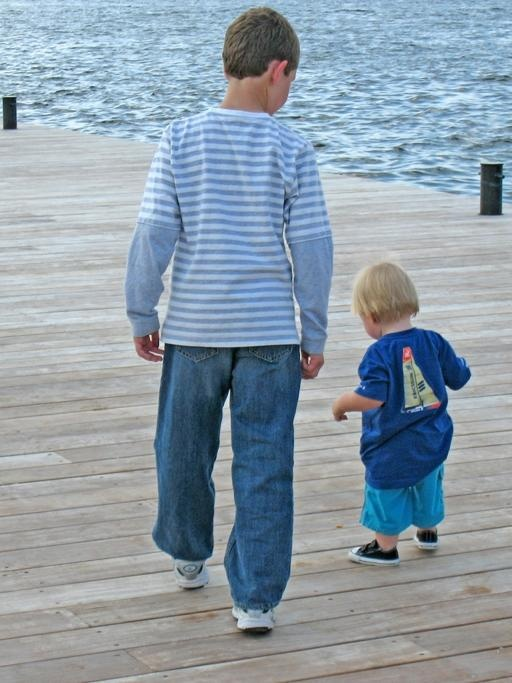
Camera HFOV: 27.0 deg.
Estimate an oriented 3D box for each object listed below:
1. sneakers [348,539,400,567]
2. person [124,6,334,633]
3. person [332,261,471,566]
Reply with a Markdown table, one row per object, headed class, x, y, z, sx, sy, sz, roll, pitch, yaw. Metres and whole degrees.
| class | x | y | z | sx | sy | sz | roll | pitch | yaw |
| --- | --- | --- | --- | --- | --- | --- | --- | --- | --- |
| sneakers | 0.294 | 0.521 | 2.624 | 0.130 | 0.047 | 0.051 | 5 | 0 | 5 |
| person | -0.042 | -0.042 | 2.336 | 0.374 | 1.322 | 0.323 | 11 | 19 | 42 |
| person | 0.349 | 0.174 | 2.610 | 0.203 | 0.742 | 0.399 | 12 | 19 | 43 |
